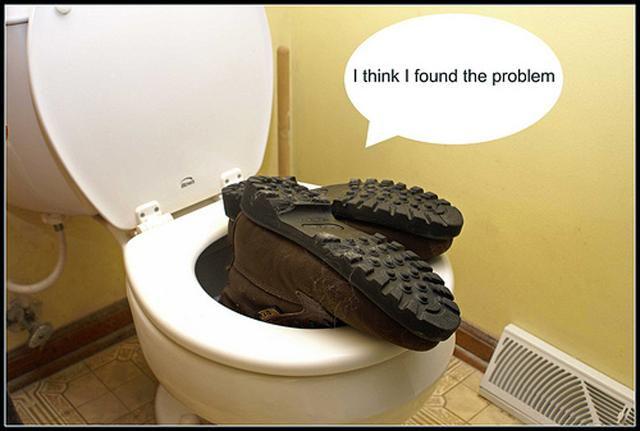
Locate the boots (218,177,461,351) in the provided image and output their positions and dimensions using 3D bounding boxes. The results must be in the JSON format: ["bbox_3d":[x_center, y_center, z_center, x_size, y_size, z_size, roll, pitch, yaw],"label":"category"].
[{"bbox_3d":[0.033,0.081,0.742,0.360,0.149,0.272,14,23,20],"label":"boots"}]
